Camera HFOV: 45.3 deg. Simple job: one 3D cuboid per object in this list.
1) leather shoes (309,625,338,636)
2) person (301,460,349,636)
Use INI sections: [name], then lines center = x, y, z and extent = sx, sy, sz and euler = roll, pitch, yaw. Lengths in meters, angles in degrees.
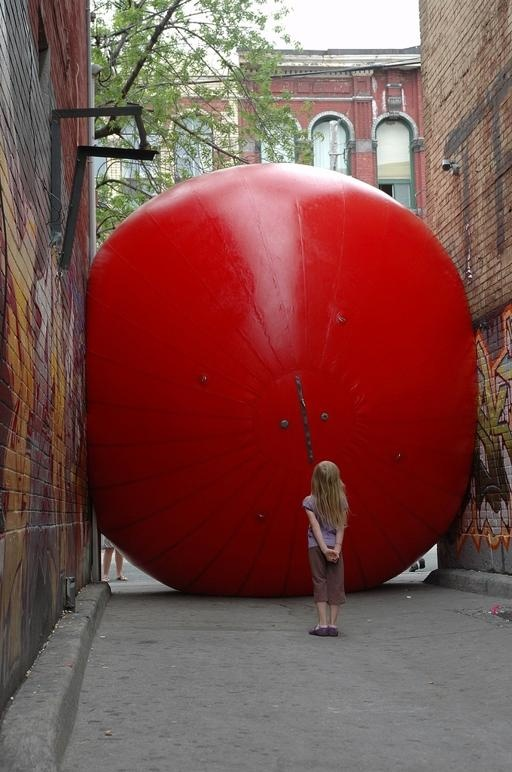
[leather shoes]
center = 0.482, 1.756, 4.390
extent = 0.199, 0.065, 0.109
euler = -1, -14, 5
[person]
center = 0.520, 1.185, 4.533
extent = 0.306, 1.248, 0.327
euler = -3, -12, 17
